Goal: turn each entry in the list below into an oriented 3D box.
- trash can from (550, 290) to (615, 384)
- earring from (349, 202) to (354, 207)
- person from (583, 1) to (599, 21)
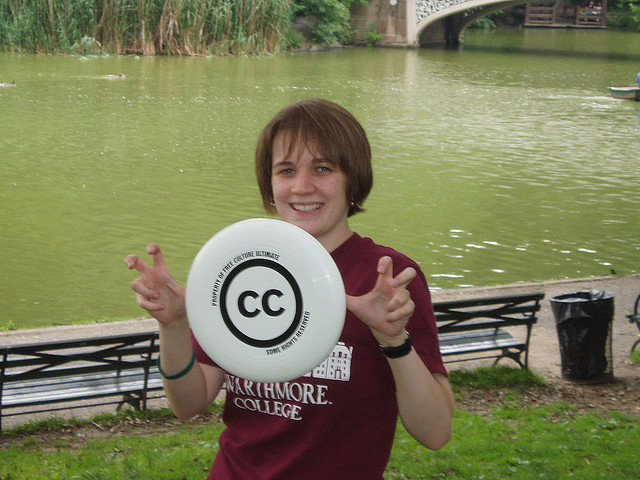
[{"bbox_3d":[3.253,1.233,9.350,0.739,1.059,0.384,1,13,14],"label":"trash can"},{"bbox_3d":[0.189,-0.216,4.485,0.028,0.024,0.006,9,-7,10],"label":"earring"},{"bbox_3d":[30.220,-25.757,84.597,1.625,0.589,2.372,0,54,10],"label":"person"}]
